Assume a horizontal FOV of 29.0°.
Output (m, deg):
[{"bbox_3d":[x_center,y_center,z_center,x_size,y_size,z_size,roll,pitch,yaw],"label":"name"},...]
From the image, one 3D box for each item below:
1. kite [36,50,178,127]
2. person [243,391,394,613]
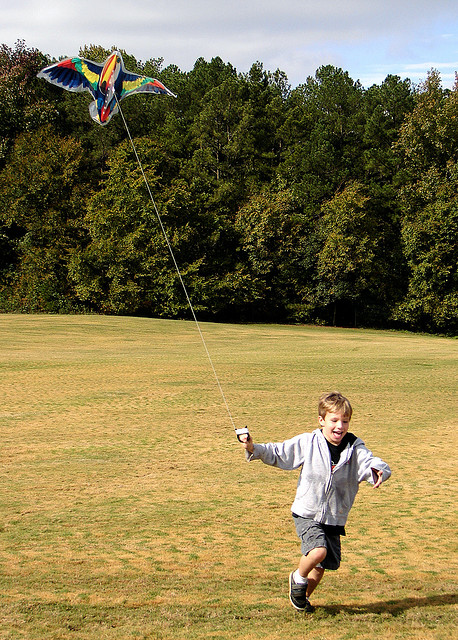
[{"bbox_3d":[-2.106,-3.891,14.520,1.923,1.258,1.382,2,3,-6],"label":"kite"},{"bbox_3d":[0.597,1.269,6.207,0.936,1.507,0.395,3,3,1],"label":"person"}]
